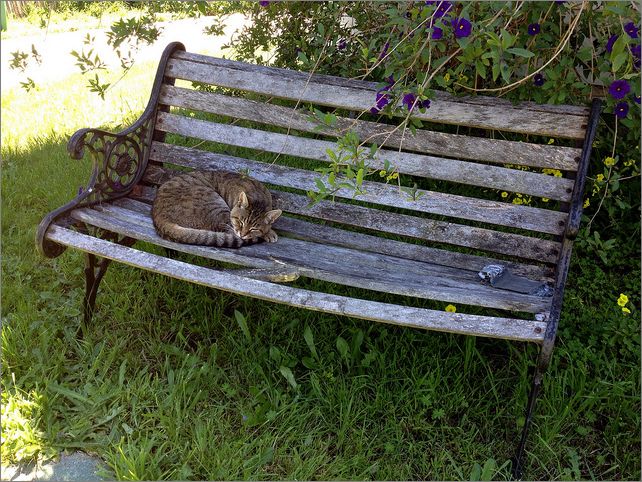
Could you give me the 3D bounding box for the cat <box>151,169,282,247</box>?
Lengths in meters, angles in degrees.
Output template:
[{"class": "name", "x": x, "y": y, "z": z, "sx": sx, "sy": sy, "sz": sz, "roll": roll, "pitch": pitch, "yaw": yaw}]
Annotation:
[{"class": "cat", "x": -0.665, "y": -0.204, "z": 3.433, "sx": 0.610, "sy": 0.244, "sz": 0.559, "roll": 17, "pitch": 37, "yaw": -1}]
